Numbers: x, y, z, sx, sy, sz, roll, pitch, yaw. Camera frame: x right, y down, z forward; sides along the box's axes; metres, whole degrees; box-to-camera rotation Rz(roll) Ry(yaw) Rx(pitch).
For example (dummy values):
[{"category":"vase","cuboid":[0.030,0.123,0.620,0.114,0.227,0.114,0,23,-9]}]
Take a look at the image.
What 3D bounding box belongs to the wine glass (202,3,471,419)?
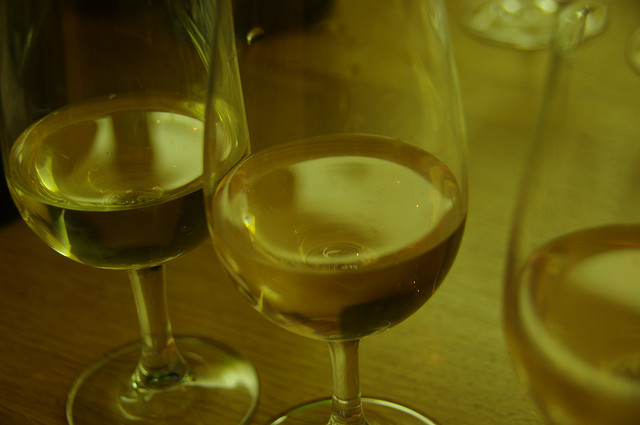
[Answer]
[{"category":"wine glass","cuboid":[0.013,-0.029,0.451,0.186,0.217,0.147,-3,44,-10]}]
